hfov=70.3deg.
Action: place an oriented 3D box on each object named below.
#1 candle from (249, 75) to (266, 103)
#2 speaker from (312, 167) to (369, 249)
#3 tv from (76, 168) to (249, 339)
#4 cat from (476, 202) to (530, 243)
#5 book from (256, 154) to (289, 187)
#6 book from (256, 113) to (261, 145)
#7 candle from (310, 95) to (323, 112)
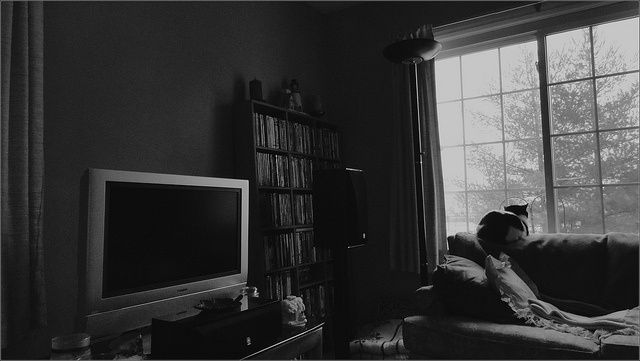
[{"bbox_3d":[-0.632,-0.916,4.628,0.160,0.253,0.153,-1,-1,-18],"label":"candle"},{"bbox_3d":[0.183,0.234,3.932,0.481,0.664,0.264,-1,-1,-4],"label":"speaker"},{"bbox_3d":[-1.317,0.550,3.814,0.531,1.137,1.573,-6,-6,35],"label":"tv"},{"bbox_3d":[1.843,0.360,4.600,0.419,0.388,0.667,0,7,44],"label":"cat"},{"bbox_3d":[-0.505,-0.106,4.663,0.072,0.348,0.571,-5,-3,28],"label":"book"},{"bbox_3d":[-0.612,-0.508,4.512,0.013,0.298,0.054,-2,-1,31],"label":"book"},{"bbox_3d":[-0.075,-0.888,5.224,0.193,0.159,0.171,-2,0,-5],"label":"candle"}]
